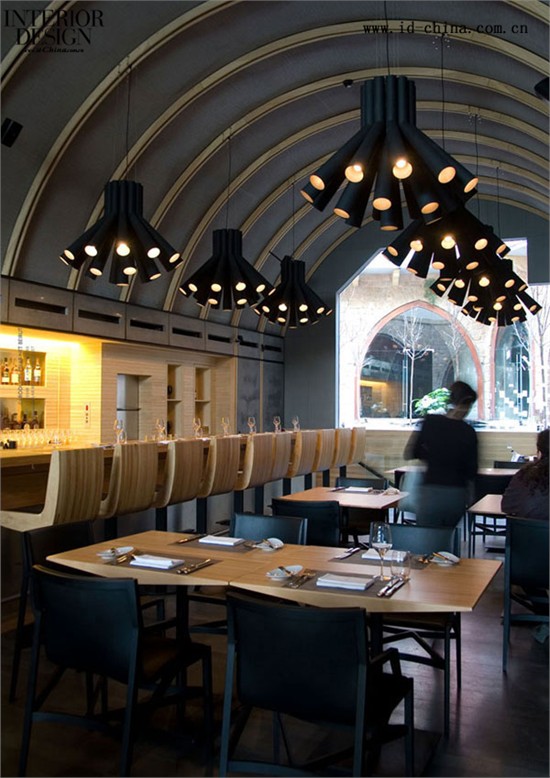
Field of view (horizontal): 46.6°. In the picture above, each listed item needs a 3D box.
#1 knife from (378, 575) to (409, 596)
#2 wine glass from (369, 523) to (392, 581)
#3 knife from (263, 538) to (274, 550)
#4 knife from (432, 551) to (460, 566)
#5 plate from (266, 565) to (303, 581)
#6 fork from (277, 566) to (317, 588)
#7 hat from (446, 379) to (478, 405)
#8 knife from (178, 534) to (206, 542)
[{"bbox_3d":[0.414,0.709,2.268,0.044,0.022,0.166,-1,4,26],"label":"knife"},{"bbox_3d":[0.431,0.640,2.603,0.078,0.207,0.369,1,-4,8],"label":"wine glass"},{"bbox_3d":[-0.028,0.752,3.079,0.036,0.048,0.013,-24,-39,34],"label":"knife"},{"bbox_3d":[0.730,0.736,2.744,0.125,0.042,0.147,0,-4,15],"label":"knife"},{"bbox_3d":[0.049,0.708,2.463,0.088,0.036,0.212,-2,-5,39],"label":"plate"},{"bbox_3d":[0.100,0.717,2.428,0.044,0.031,0.225,8,-5,14],"label":"fork"},{"bbox_3d":[1.310,0.030,4.463,0.239,0.180,0.146,-2,-5,39],"label":"hat"},{"bbox_3d":[-0.436,0.785,3.335,0.066,0.011,0.204,0,1,12],"label":"knife"}]
